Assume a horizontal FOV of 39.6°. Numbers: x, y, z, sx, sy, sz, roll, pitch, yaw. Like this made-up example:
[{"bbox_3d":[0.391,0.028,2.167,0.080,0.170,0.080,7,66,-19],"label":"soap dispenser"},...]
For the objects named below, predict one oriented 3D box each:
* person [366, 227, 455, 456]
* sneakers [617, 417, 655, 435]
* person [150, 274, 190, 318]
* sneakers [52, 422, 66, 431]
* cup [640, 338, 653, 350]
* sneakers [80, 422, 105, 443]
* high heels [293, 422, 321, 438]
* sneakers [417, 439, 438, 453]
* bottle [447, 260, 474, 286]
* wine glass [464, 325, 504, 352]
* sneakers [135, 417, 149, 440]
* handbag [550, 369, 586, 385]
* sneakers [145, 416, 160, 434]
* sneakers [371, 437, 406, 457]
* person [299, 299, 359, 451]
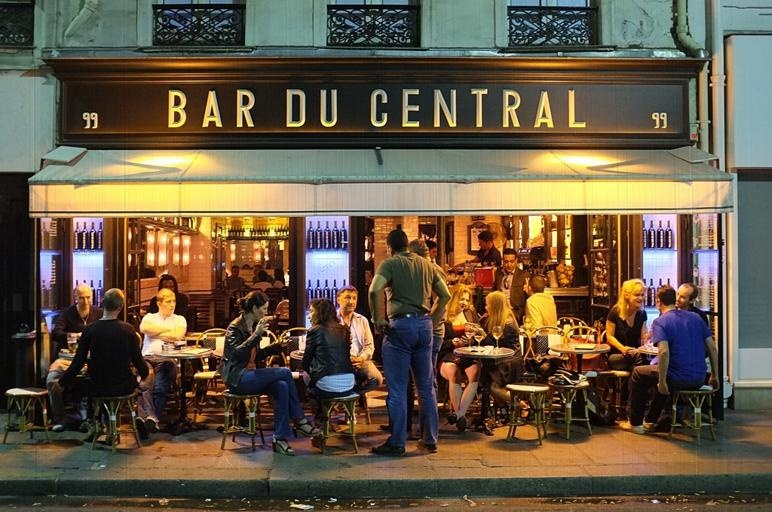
[{"bbox_3d":[0.307,1.258,15.485,1.182,3.211,0.438,-3,0,-4],"label":"person"},{"bbox_3d":[3.756,2.578,16.226,0.199,0.184,0.510,1,0,-29],"label":"sneakers"},{"bbox_3d":[-3.853,0.722,18.990,0.816,0.890,0.541,-2,8,-13],"label":"person"},{"bbox_3d":[-4.923,2.582,16.126,0.214,0.081,0.080,1,-3,16],"label":"sneakers"},{"bbox_3d":[4.005,1.358,16.434,0.177,0.156,0.303,-1,-2,23],"label":"cup"},{"bbox_3d":[-4.325,2.607,15.819,0.196,0.222,0.504,17,-2,-24],"label":"sneakers"},{"bbox_3d":[-1.143,2.549,15.711,0.509,0.176,0.180,2,1,-1],"label":"high heels"},{"bbox_3d":[0.592,2.739,15.464,0.125,0.109,0.277,-3,10,-35],"label":"sneakers"},{"bbox_3d":[1.440,0.310,20.565,0.519,0.435,0.387,3,-2,7],"label":"bottle"},{"bbox_3d":[1.491,1.259,16.559,0.467,0.290,0.330,-1,1,-14],"label":"wine glass"},{"bbox_3d":[-3.599,2.566,15.965,0.140,0.360,0.151,-7,2,13],"label":"sneakers"},{"bbox_3d":[2.713,1.815,16.031,0.547,0.209,0.356,-3,0,6],"label":"handbag"},{"bbox_3d":[-3.467,2.494,15.955,0.136,0.279,0.125,-14,5,-2],"label":"sneakers"},{"bbox_3d":[0.051,2.765,15.402,0.505,0.199,0.198,3,-6,8],"label":"sneakers"},{"bbox_3d":[-0.836,1.697,15.526,0.733,2.144,0.321,-3,0,-6],"label":"person"}]
